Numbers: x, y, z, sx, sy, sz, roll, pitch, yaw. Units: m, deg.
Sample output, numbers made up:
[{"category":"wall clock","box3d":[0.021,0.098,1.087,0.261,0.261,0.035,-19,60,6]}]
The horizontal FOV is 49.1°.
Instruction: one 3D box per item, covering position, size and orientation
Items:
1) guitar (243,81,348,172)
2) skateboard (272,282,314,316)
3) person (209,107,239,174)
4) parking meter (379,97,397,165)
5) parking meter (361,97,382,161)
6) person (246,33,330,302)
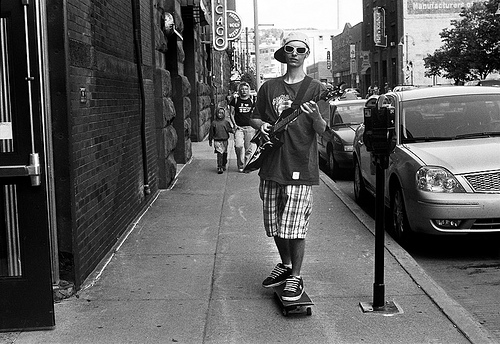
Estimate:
[{"category":"guitar","box3d":[0.586,-0.549,7.076,0.288,0.787,2.092,16,-39,-28]},{"category":"skateboard","box3d":[0.435,1.278,5.479,0.303,0.166,0.457,-1,10,-10]},{"category":"person","box3d":[-0.668,-0.796,13.812,0.693,1.563,1.266,0,9,-5]},{"category":"parking meter","box3d":[1.334,-0.363,5.337,0.150,0.561,0.277,2,9,14]},{"category":"parking meter","box3d":[1.201,-0.378,5.361,0.182,0.538,0.268,2,9,11]},{"category":"person","box3d":[0.388,-0.051,5.658,0.786,2.705,1.129,0,8,0]}]
